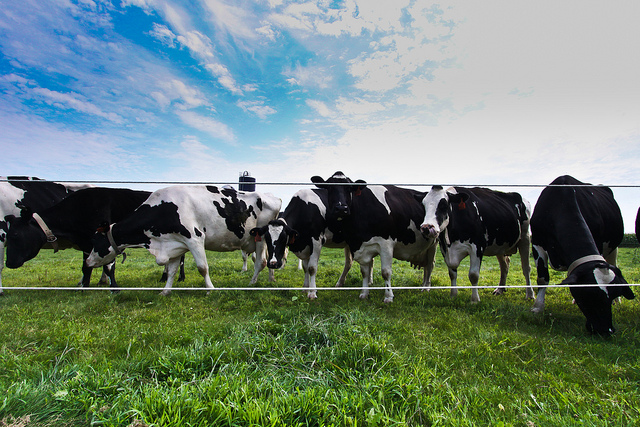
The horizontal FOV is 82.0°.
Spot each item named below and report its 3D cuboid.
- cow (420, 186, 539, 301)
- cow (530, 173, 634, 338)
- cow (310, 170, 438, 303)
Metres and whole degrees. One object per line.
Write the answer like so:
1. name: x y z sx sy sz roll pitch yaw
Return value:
1. cow: 3.816 0.742 9.155 3.982 2.584 1.624 5 -5 -33
2. cow: 4.805 0.638 6.653 1.641 2.595 3.095 6 9 29
3. cow: 1.620 0.761 9.358 1.520 2.776 4.738 -6 -7 43
